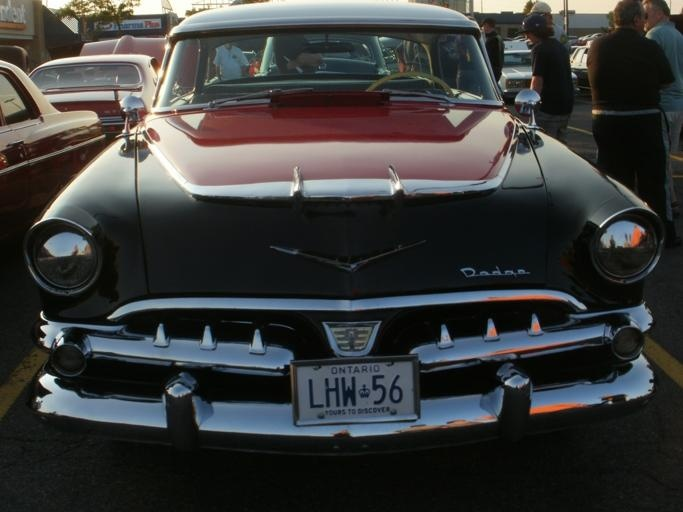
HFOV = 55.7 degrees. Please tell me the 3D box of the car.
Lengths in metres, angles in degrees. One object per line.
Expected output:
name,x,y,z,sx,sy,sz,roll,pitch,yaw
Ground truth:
car,0.045,-0.499,3.502,2.682,1.698,2.725,-2,20,3
